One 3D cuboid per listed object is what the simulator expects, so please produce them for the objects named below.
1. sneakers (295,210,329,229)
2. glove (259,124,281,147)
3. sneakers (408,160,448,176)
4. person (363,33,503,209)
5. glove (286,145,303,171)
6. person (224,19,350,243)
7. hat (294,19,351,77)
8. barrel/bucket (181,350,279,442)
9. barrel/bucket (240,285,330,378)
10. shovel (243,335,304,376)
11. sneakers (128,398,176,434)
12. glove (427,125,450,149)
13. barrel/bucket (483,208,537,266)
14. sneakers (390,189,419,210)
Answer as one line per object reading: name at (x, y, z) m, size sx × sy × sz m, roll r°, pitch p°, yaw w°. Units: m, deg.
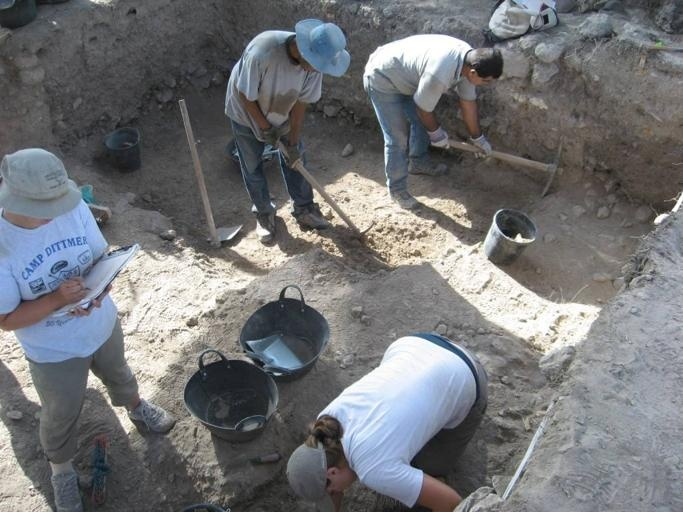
sneakers at (-0.295, -0.367, 7.626) m, size 0.326 × 0.148 × 0.169 m, roll 14°, pitch 44°, yaw 28°
glove at (-0.638, -1.078, 6.789) m, size 0.182 × 0.189 × 0.117 m, roll 29°, pitch 88°, yaw 35°
sneakers at (0.895, -0.930, 8.026) m, size 0.457 × 0.209 × 0.160 m, roll 3°, pitch 42°, yaw 11°
person at (0.945, -1.305, 7.419) m, size 1.125 × 1.402 × 0.636 m, roll 33°, pitch 69°, yaw 19°
glove at (-0.439, -0.912, 7.035) m, size 0.133 × 0.071 × 0.198 m, roll -8°, pitch 96°, yaw 7°
person at (-0.492, -1.151, 7.001) m, size 1.019 × 2.159 × 0.715 m, roll -16°, pitch 56°, yaw -8°
hat at (-0.170, -1.730, 6.315) m, size 0.427 × 0.400 × 0.451 m, roll 3°, pitch 57°, yaw 5°
barrel/bucket at (-0.890, 1.113, 5.976) m, size 0.644 × 0.402 × 0.745 m, roll -22°, pitch 56°, yaw -21°
barrel/bucket at (-0.440, 0.663, 6.301) m, size 0.624 × 0.535 × 0.770 m, roll 31°, pitch 61°, yaw 15°
shovel at (-0.582, 0.812, 6.195) m, size 0.370 × 0.127 × 0.252 m, roll 14°, pitch 29°, yaw -40°
sneakers at (-1.473, 1.269, 5.940) m, size 0.388 × 0.177 × 0.204 m, roll 25°, pitch 57°, yaw 13°
glove at (0.923, -1.135, 7.367) m, size 0.185 × 0.195 × 0.243 m, roll -32°, pitch 25°, yaw -12°
barrel/bucket at (1.511, -0.157, 6.934) m, size 0.463 × 0.516 × 0.502 m, roll 0°, pitch 63°, yaw -1°
sneakers at (0.632, -0.566, 7.683) m, size 0.269 × 0.119 × 0.155 m, roll 32°, pitch 58°, yaw 33°
